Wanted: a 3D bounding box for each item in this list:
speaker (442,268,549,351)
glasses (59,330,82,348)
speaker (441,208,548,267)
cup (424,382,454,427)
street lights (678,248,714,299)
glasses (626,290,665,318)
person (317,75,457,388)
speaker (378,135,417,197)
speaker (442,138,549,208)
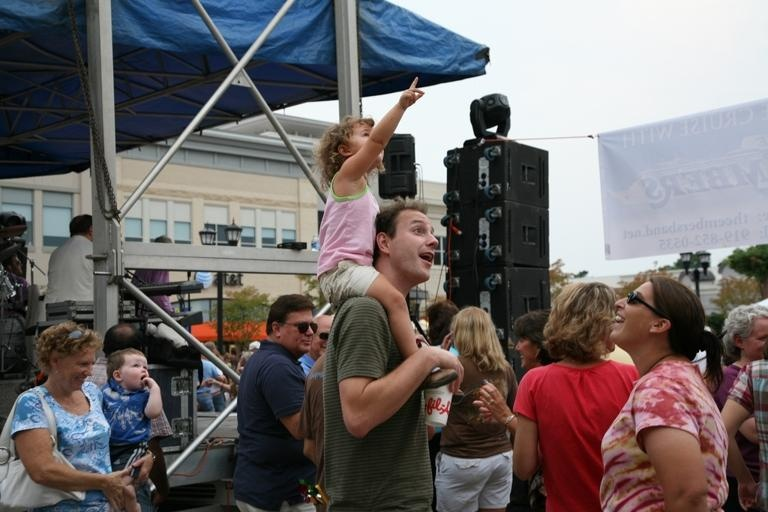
[{"bbox_3d":[1.633,0.728,14.037,1.316,1.276,1.016,1,-3,-36],"label":"speaker"},{"bbox_3d":[-2.862,0.763,9.356,0.138,0.123,0.224,8,-36,-43],"label":"glasses"},{"bbox_3d":[1.890,-0.234,14.038,1.061,0.631,1.005,1,11,15],"label":"speaker"},{"bbox_3d":[0.426,1.168,7.957,0.243,0.317,0.148,-7,-8,34],"label":"cup"},{"bbox_3d":[7.216,0.566,23.371,0.755,1.489,0.363,0,10,35],"label":"street lights"},{"bbox_3d":[2.146,0.389,8.303,0.229,0.067,0.221,28,0,7],"label":"glasses"},{"bbox_3d":[0.024,-0.110,8.237,1.024,2.193,1.087,2,-5,-39],"label":"person"},{"bbox_3d":[0.168,-1.390,14.424,0.579,0.915,0.542,-9,24,-15],"label":"speaker"},{"bbox_3d":[1.653,-1.103,14.311,1.124,0.864,1.205,-8,0,21],"label":"speaker"}]
